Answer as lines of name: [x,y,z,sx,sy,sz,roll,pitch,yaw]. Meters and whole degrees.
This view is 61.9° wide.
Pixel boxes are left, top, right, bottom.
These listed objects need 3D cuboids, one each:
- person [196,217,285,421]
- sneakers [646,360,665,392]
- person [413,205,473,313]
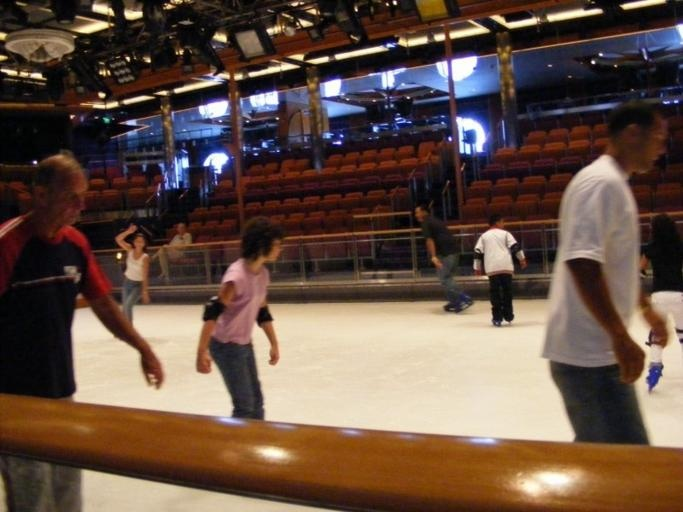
person: [-0.560,0.327,3.147,0.443,1.129,0.290,2,-10,-15]
sneakers: [2.518,0.956,4.546,0.102,0.293,0.110,4,21,-4]
person: [1.801,0.037,9.914,0.689,1.893,1.006,-8,-12,35]
